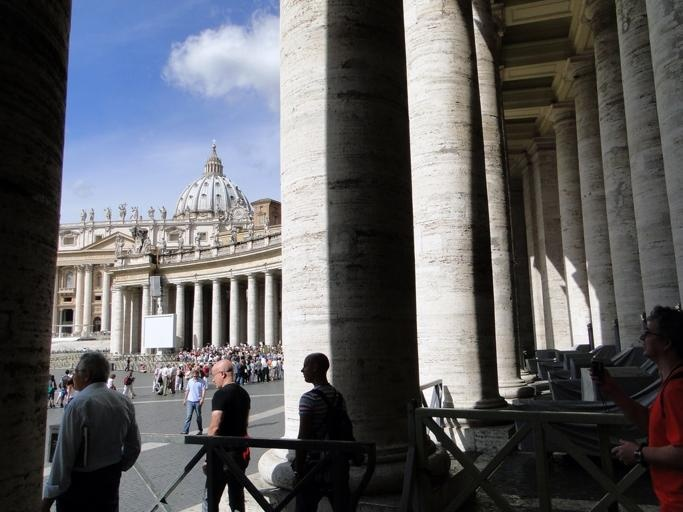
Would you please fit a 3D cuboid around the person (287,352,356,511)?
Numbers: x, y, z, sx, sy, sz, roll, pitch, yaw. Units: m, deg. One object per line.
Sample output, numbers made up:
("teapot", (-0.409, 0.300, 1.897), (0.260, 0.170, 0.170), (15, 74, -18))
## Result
("person", (-0.245, 2.016, 7.699), (0.732, 1.801, 1.409), (-4, -9, -2))
